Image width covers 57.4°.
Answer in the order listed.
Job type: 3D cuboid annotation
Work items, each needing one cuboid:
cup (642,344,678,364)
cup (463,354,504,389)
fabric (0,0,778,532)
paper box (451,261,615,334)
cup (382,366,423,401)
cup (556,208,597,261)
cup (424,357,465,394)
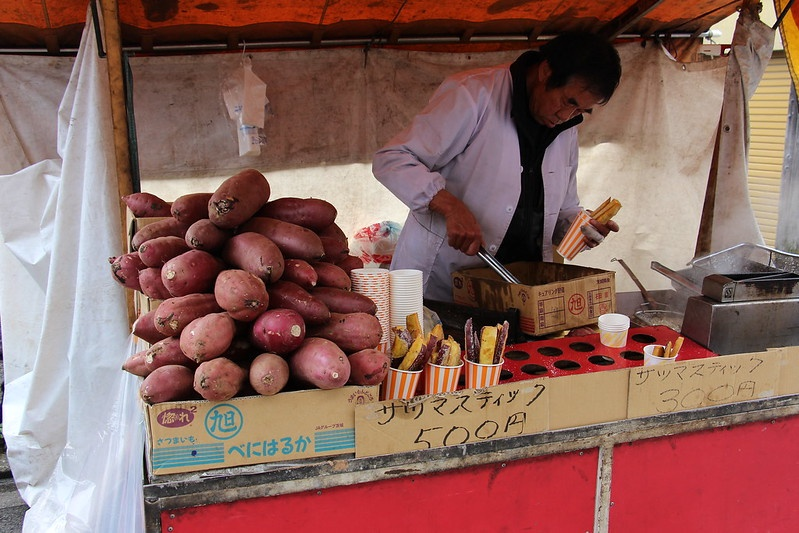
[{"bbox_3d":[1.289,0.420,3.570,0.118,0.075,0.105,2,20,-6],"label":"cup"},{"bbox_3d":[0.392,0.478,3.311,0.151,0.099,0.145,0,-2,0],"label":"cup"},{"bbox_3d":[-0.902,-0.769,5.699,4.393,2.385,4.093,-4,10,-14],"label":"fabric"},{"bbox_3d":[0.804,0.156,4.295,0.781,0.232,0.772,-8,10,-19],"label":"paper box"},{"bbox_3d":[0.007,0.529,3.323,0.155,0.110,0.155,11,-3,1],"label":"cup"},{"bbox_3d":[1.058,-0.179,4.342,0.109,0.294,0.221,-5,3,-43],"label":"cup"},{"bbox_3d":[0.198,0.505,3.346,0.159,0.109,0.153,2,-5,0],"label":"cup"}]
